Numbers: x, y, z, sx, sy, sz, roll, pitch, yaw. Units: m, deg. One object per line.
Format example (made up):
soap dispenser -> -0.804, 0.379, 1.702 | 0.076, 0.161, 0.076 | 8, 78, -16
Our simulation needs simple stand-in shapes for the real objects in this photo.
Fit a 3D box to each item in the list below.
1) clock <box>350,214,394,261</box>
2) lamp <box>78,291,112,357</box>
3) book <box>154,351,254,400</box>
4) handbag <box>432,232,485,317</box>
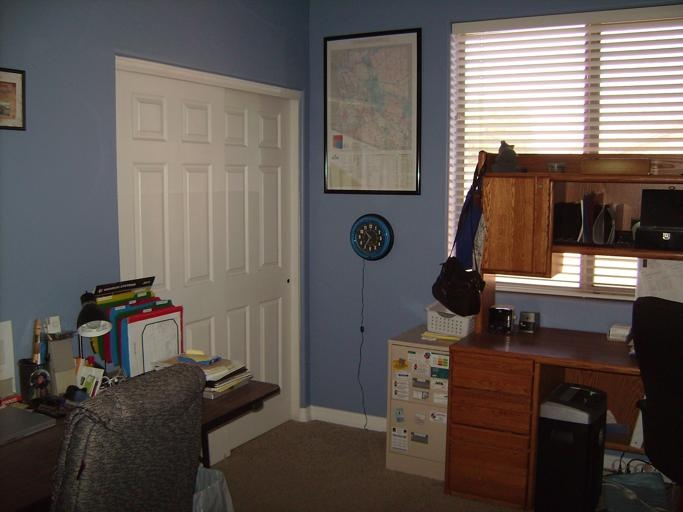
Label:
clock -> 0.218, -0.137, 4.293 | 0.326, 0.340, 0.328 | 1, -11, 0
lamp -> -1.204, 0.317, 2.628 | 0.141, 0.276, 0.207 | -13, -6, -41
book -> -0.630, 0.598, 2.831 | 0.365, 0.121, 0.369 | 4, 6, 30
handbag -> 0.800, 0.127, 3.686 | 0.304, 0.462, 0.452 | -3, 22, -4
